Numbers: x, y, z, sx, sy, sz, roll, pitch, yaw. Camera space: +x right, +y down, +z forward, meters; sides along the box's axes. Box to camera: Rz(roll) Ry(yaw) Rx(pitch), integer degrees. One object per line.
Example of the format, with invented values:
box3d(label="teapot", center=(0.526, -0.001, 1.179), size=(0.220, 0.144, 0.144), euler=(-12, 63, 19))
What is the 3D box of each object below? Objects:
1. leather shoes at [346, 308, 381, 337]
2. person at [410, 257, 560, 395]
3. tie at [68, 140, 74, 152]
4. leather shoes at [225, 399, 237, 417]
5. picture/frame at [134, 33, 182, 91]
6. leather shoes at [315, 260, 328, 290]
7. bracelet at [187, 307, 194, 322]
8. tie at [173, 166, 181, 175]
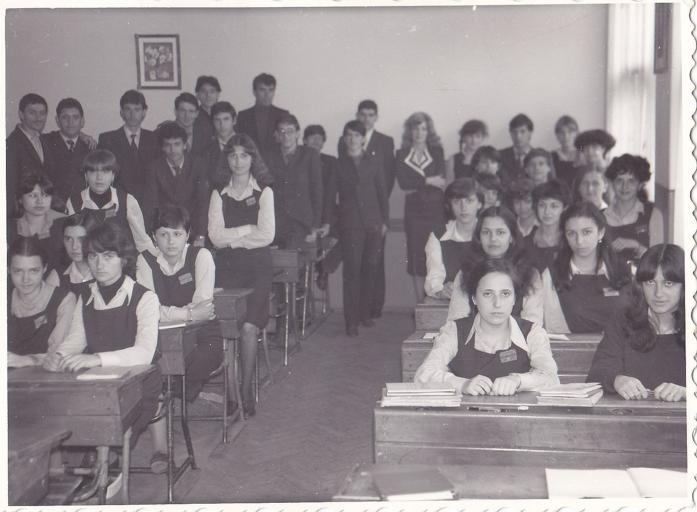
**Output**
box3d(label="leather shoes", center=(0.180, 0.639, 6.195), size=(0.405, 0.292, 0.137), euler=(-15, -8, 29))
box3d(label="person", center=(0.893, 0.423, 4.031), size=(0.772, 1.142, 0.739), euler=(2, -16, 6))
box3d(label="tie", center=(-2.316, -0.920, 5.562), size=(0.053, 0.072, 0.017), euler=(-1, -4, -18))
box3d(label="leather shoes", center=(-0.880, 1.145, 5.016), size=(0.113, 0.129, 0.129), euler=(1, -6, -1))
box3d(label="picture/frame", center=(-1.621, -1.658, 5.628), size=(0.457, 0.532, 0.031), euler=(-4, 25, -12))
box3d(label="leather shoes", center=(-0.249, 0.184, 6.353), size=(0.095, 0.286, 0.117), euler=(1, 10, -4))
box3d(label="bracelet", center=(-1.263, 0.471, 5.331), size=(0.056, 0.079, 0.019), euler=(-1, -9, 0))
box3d(label="tie", center=(-1.480, -0.732, 5.746), size=(0.058, 0.075, 0.017), euler=(1, -7, -11))
